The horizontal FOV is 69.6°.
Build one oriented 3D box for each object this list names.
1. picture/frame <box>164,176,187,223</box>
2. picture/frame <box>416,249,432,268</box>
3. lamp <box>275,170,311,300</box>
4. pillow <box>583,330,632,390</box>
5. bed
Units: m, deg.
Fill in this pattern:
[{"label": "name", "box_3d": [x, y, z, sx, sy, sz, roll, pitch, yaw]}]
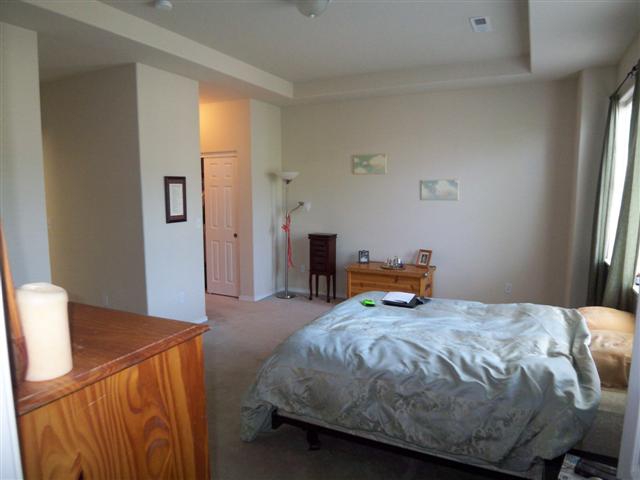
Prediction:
[{"label": "picture/frame", "box_3d": [-1.641, -0.462, 5.298, 0.368, 0.520, 0.051, 2, 7, 32]}, {"label": "picture/frame", "box_3d": [1.388, 0.249, 6.107, 0.227, 0.311, 0.034, 2, -20, 36]}, {"label": "lamp", "box_3d": [-0.444, -0.099, 6.890, 0.467, 1.824, 0.630, -1, 13, 8]}, {"label": "pillow", "box_3d": [1.936, 0.782, 3.050, 0.329, 0.090, 0.340, 4, 10, 34]}, {"label": "bed", "box_3d": [0.904, 0.987, 3.532, 2.136, 0.622, 1.811, 4, 15, 30]}]
